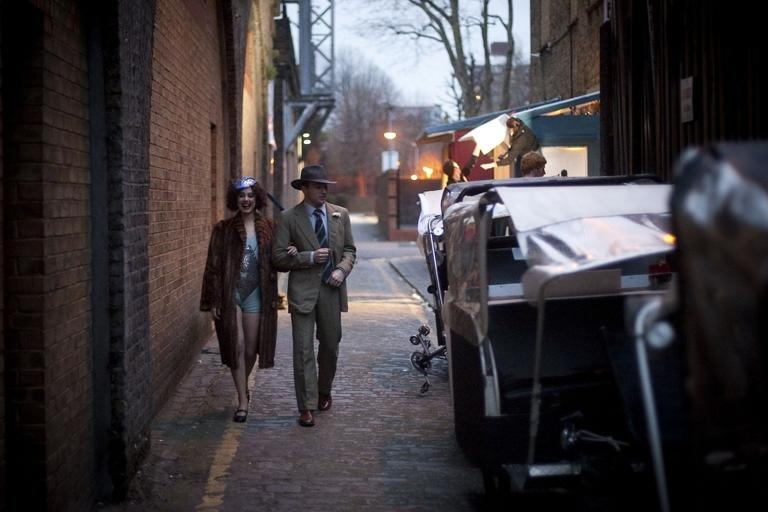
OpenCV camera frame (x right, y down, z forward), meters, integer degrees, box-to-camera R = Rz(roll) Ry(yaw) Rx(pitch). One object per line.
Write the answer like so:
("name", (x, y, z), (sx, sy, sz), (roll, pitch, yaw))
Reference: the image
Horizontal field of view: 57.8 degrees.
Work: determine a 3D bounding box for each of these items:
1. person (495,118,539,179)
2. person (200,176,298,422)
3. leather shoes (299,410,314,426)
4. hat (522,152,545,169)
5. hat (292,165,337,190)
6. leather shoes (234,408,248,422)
("person", (2.797, -2.047, 14.654), (0.873, 1.636, 0.706), (5, 24, 24))
("person", (-1.437, 0.425, 6.977), (0.736, 2.369, 0.547), (-1, 4, -10))
("leather shoes", (-0.744, 1.568, 6.709), (0.146, 0.140, 0.101), (-1, 4, -13))
("hat", (1.970, -1.245, 9.289), (0.330, 0.247, 0.254), (3, 5, 35))
("hat", (-0.746, -0.775, 7.054), (0.357, 0.158, 0.316), (-5, -4, 39))
("leather shoes", (-1.405, 1.576, 6.843), (0.096, 0.073, 0.253), (0, -2, -5))
